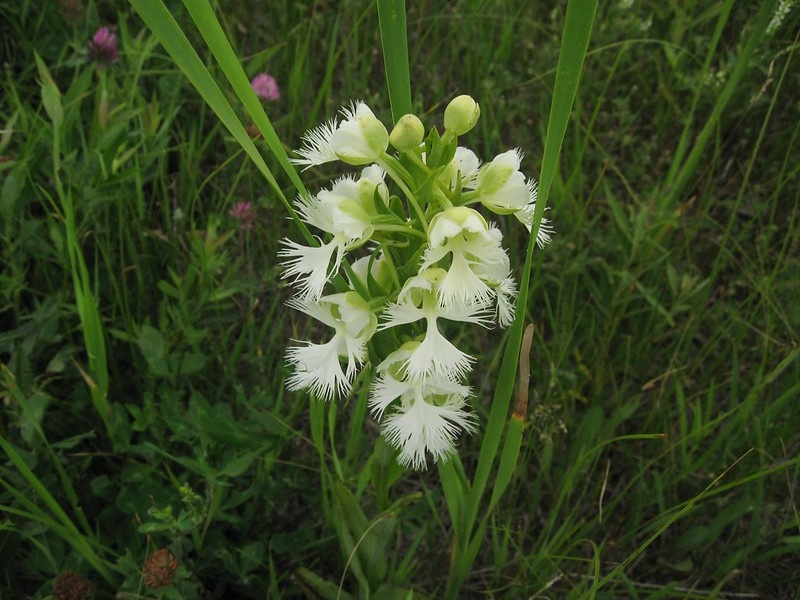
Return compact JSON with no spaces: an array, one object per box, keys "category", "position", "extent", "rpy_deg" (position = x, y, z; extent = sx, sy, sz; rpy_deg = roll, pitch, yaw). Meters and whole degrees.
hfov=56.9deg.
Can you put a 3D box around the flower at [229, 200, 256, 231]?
[{"category":"flower","position":[-0.539,-0.291,2.556],"extent":[0.086,0.106,0.064],"rpy_deg":[3,14,-9]}]

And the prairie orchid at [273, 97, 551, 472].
[{"category":"prairie orchid","position":[0.029,0.011,2.027],"extent":[0.620,1.113,0.765],"rpy_deg":[-9,47,-8]}]
